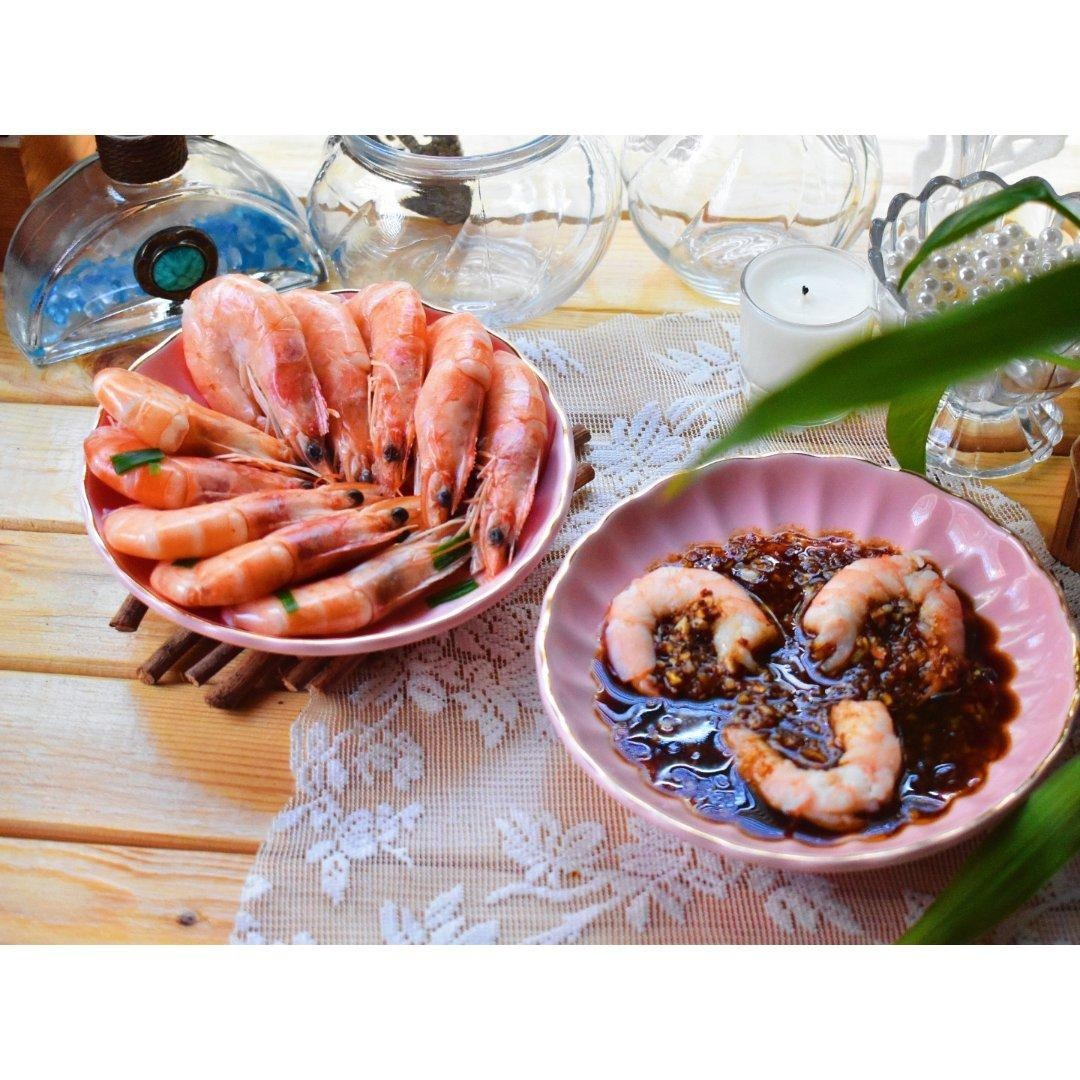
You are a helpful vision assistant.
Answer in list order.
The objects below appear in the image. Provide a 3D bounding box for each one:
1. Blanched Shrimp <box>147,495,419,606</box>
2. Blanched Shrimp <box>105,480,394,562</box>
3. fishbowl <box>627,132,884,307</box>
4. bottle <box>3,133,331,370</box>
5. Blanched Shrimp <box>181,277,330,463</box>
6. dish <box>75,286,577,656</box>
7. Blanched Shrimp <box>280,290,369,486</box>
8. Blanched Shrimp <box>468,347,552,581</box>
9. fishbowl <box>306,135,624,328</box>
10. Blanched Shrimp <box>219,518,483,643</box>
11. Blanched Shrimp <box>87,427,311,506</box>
[{"bbox_3d":[-0.201,-0.011,0.835,0.195,0.040,0.079,-16,33,-29],"label":"Blanched Shrimp"},{"bbox_3d":[-0.250,-0.023,0.850,0.150,0.023,0.082,-11,22,-23],"label":"Blanched Shrimp"},{"bbox_3d":[0.256,-0.450,1.293,0.336,0.217,0.334,12,38,13],"label":"fishbowl"},{"bbox_3d":[-0.413,-0.307,1.086,0.312,0.204,0.113,-16,47,-16],"label":"bottle"},{"bbox_3d":[-0.267,-0.170,1.024,0.120,0.204,0.059,-21,1,15],"label":"Blanched Shrimp"},{"bbox_3d":[-0.170,-0.011,0.918,0.414,0.135,0.377,11,53,-1],"label":"dish"},{"bbox_3d":[-0.203,-0.153,0.953,0.097,0.044,0.183,-12,83,-17],"label":"Blanched Shrimp"},{"bbox_3d":[-0.003,-0.077,0.898,0.048,0.085,0.182,-22,49,42],"label":"Blanched Shrimp"},{"bbox_3d":[-0.071,-0.348,1.104,0.250,0.134,0.250,11,40,11],"label":"fishbowl"},{"bbox_3d":[-0.154,0.047,0.841,0.208,0.046,0.071,-18,49,-26],"label":"Blanched Shrimp"},{"bbox_3d":[-0.294,-0.082,0.901,0.221,0.052,0.118,1,28,-3],"label":"Blanched Shrimp"}]
